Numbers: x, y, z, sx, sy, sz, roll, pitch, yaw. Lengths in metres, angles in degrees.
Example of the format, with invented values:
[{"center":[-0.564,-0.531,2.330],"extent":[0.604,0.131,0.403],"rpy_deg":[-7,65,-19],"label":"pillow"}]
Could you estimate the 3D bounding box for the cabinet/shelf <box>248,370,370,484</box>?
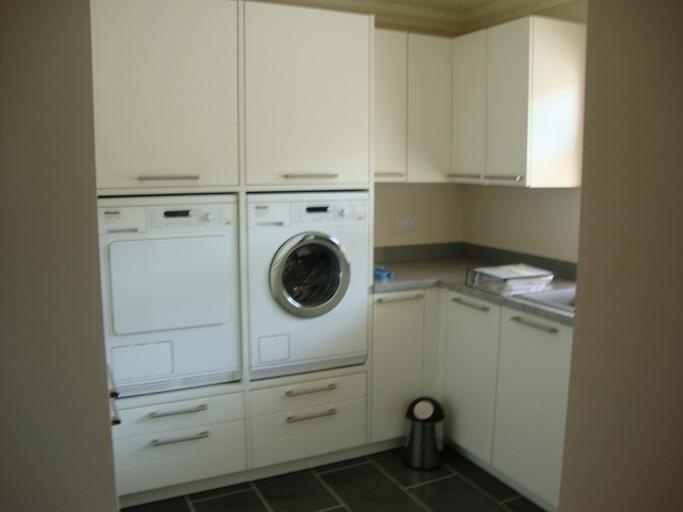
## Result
[{"center":[-0.150,0.754,2.483],"extent":[0.405,0.280,0.412],"rpy_deg":[-3,5,-28],"label":"cabinet/shelf"}]
